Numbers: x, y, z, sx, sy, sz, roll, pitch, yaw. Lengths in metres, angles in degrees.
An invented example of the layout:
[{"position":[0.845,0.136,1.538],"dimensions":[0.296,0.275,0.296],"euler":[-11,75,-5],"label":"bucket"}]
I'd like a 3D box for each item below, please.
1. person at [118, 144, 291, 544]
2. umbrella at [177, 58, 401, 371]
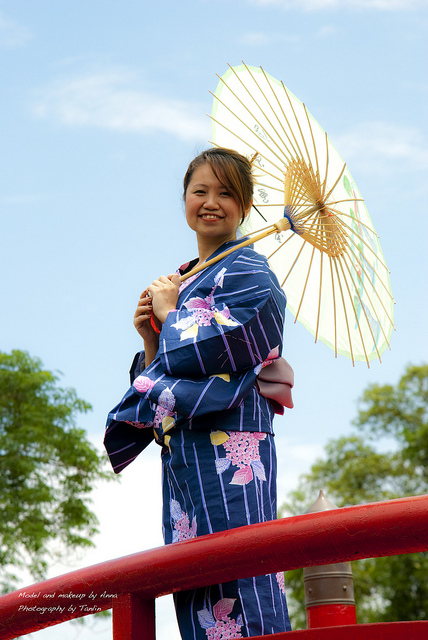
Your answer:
[{"position":[-0.050,0.026,4.604],"dimensions":[0.597,1.372,0.903],"euler":[-7,-6,1],"label":"person"},{"position":[0.157,-0.373,5.114],"dimensions":[0.847,1.041,1.209],"euler":[4,-12,-6],"label":"umbrella"}]
